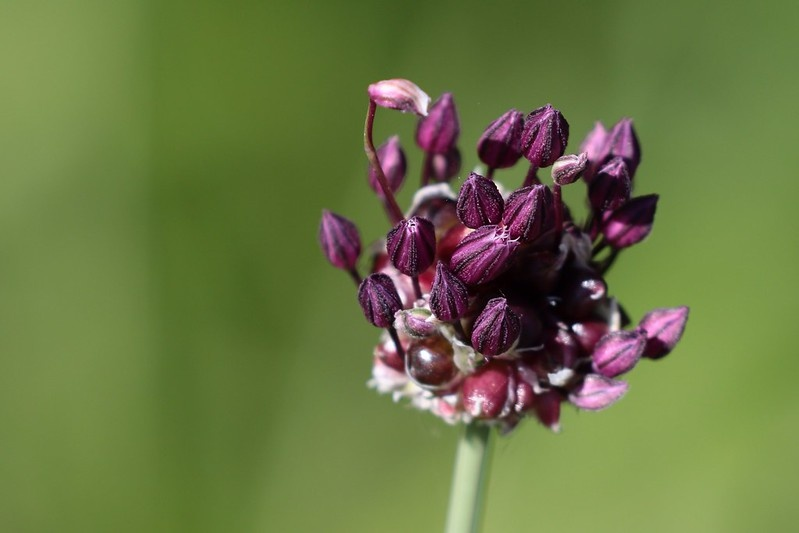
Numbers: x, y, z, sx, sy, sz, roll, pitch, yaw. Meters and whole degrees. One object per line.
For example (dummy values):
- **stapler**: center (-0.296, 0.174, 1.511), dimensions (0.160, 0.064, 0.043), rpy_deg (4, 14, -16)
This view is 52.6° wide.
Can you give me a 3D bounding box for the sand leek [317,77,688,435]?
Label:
- **sand leek**: center (0.162, 0.028, 1.584), dimensions (0.600, 0.633, 0.631), rpy_deg (-5, 36, -21)
